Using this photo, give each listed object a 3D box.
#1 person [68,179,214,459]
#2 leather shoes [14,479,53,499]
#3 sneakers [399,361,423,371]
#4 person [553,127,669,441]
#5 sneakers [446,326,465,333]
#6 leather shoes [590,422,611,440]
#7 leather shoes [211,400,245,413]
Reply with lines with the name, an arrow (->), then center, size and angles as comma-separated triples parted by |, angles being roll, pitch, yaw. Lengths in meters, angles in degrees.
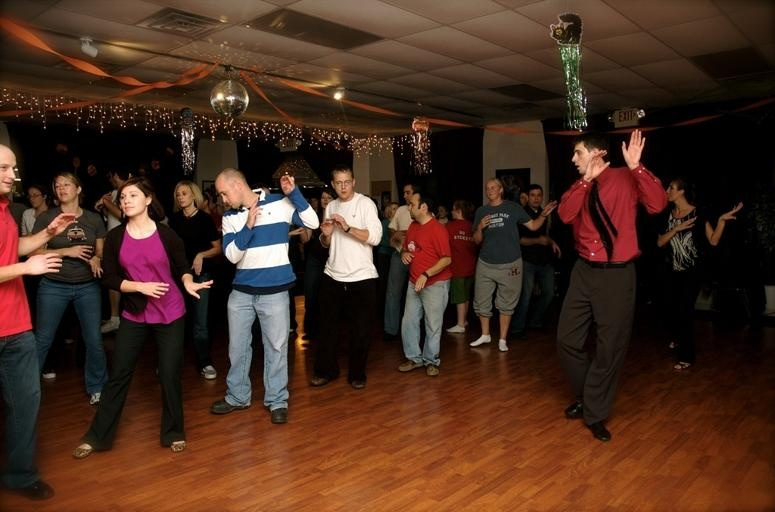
person -> -1.846, 0.463, 3.877 | 0.909, 2.014, 0.503 | -3, 13, -15
leather shoes -> -2.351, 1.554, 3.448 | 0.276, 0.111, 0.100 | 2, 3, -4
sneakers -> 0.247, 1.174, 5.500 | 0.261, 0.101, 0.094 | 2, 2, -24
person -> 1.773, 0.198, 4.259 | 0.758, 2.395, 0.726 | 10, 16, 38
sneakers -> 0.932, 0.978, 6.877 | 0.184, 0.076, 0.107 | -3, -1, 23
leather shoes -> 1.724, 1.404, 4.164 | 0.083, 0.081, 0.210 | -9, 6, -12
leather shoes -> -1.409, 1.324, 4.533 | 0.246, 0.103, 0.118 | 16, -15, -34
